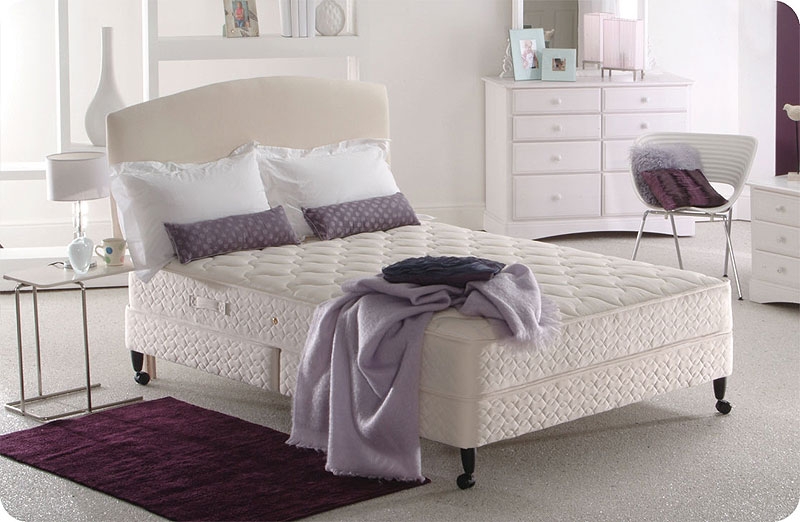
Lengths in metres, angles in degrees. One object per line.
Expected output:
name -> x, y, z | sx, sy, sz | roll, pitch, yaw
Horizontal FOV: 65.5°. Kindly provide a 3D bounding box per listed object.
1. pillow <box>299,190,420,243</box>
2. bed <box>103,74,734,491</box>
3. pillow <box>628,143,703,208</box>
pillow -> -0.234, -0.346, 4.116 | 0.659, 0.179, 0.464 | -12, 28, -31
bed -> 0.009, -0.152, 3.325 | 3.178, 1.721, 1.613 | 8, 17, 31
pillow -> 2.050, -0.750, 4.889 | 0.549, 0.500, 0.158 | -5, -21, -17
